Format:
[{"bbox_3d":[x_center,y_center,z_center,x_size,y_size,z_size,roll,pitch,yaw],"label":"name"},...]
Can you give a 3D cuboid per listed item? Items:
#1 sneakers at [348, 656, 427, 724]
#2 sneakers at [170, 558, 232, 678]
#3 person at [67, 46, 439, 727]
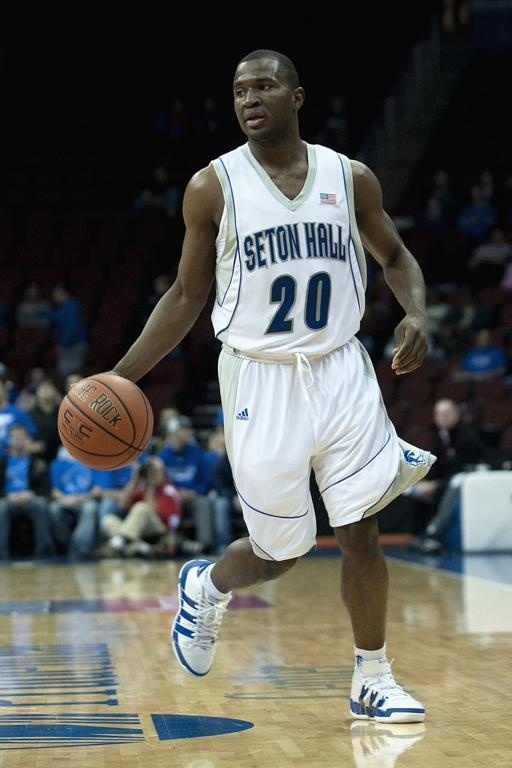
[{"bbox_3d":[0.325,0.767,1.934,0.129,0.159,0.192,4,-8,-18],"label":"sneakers"},{"bbox_3d":[-0.158,0.648,2.270,0.143,0.378,0.172,2,-9,-22],"label":"sneakers"},{"bbox_3d":[0.072,-0.013,2.023,0.763,1.720,0.398,0,-8,12],"label":"person"}]
